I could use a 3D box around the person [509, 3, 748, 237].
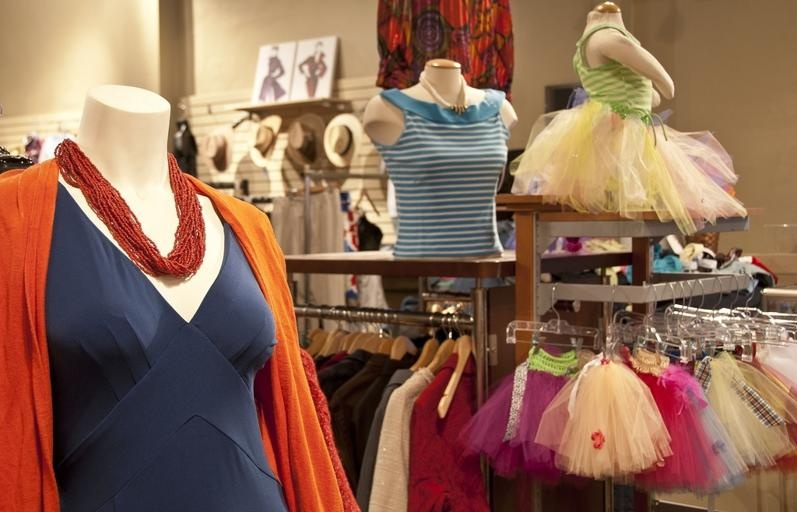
[{"bbox_3d":[0.960,-0.459,3.132,0.847,0.952,0.964,-2,6,-1],"label":"person"}]

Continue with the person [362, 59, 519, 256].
[{"bbox_3d":[0.214,-0.421,3.222,0.659,0.959,0.418,1,-9,-15],"label":"person"}]
